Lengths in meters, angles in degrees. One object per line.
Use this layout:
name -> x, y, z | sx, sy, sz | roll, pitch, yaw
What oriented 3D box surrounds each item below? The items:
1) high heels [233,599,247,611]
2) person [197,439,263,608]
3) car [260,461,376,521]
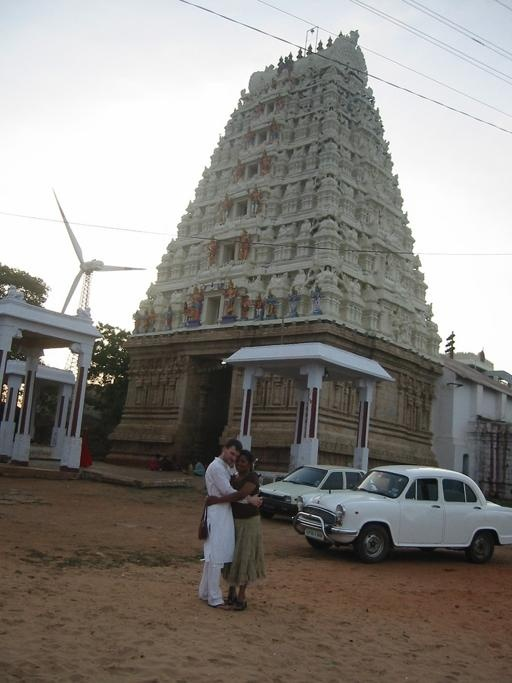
high heels -> -0.174, 2.691, 5.729 | 0.077, 0.081, 0.197 | -2, -18, 0
person -> -0.282, 1.878, 5.754 | 0.556, 1.696, 0.546 | 6, -11, 4
car -> 1.644, 3.716, 13.742 | 2.616, 0.982, 1.476 | 8, -11, -40
